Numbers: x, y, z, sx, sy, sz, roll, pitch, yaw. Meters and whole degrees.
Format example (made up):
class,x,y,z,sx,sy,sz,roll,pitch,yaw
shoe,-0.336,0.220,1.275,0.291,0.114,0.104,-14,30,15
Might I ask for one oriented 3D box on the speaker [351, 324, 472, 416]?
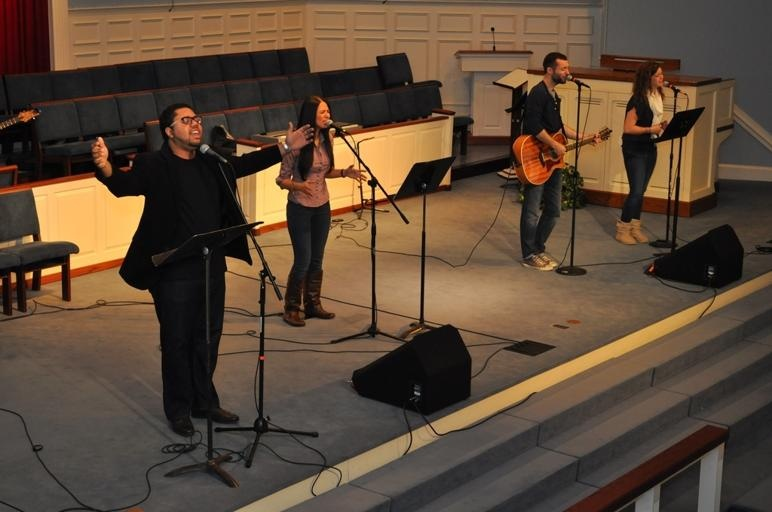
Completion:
class,x,y,z,sx,sy,sz,roll,pitch,yaw
speaker,0.154,0.741,4.863,0.721,0.483,0.529,14,20,39

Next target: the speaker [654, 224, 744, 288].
class,x,y,z,sx,sy,sz,roll,pitch,yaw
speaker,3.080,0.023,6.858,0.624,0.439,0.708,-16,25,-35

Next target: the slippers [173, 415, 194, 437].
class,x,y,z,sx,sy,sz,roll,pitch,yaw
slippers,-1.302,1.098,4.404,0.079,0.071,0.187,-11,17,-43

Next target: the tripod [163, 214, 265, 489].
class,x,y,z,sx,sy,sz,roll,pitch,yaw
tripod,-1.030,0.538,4.091,0.626,1.471,0.763,-4,18,0

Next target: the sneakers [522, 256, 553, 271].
class,x,y,z,sx,sy,sz,roll,pitch,yaw
sneakers,1.593,0.064,7.152,0.260,0.097,0.138,6,22,20

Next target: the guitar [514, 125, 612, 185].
class,x,y,z,sx,sy,sz,roll,pitch,yaw
guitar,1.704,-0.985,6.900,0.852,0.520,0.388,-16,22,-34

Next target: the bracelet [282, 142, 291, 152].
class,x,y,z,sx,sy,sz,roll,pitch,yaw
bracelet,-0.642,-0.696,4.373,0.057,0.054,0.102,3,30,-23

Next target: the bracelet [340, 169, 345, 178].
class,x,y,z,sx,sy,sz,roll,pitch,yaw
bracelet,-0.363,-0.682,5.596,0.022,0.066,0.130,-8,19,-13

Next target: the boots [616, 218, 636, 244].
class,x,y,z,sx,sy,sz,roll,pitch,yaw
boots,2.751,-0.261,7.852,0.146,0.235,0.345,-8,14,-33

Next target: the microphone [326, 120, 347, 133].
class,x,y,z,sx,sy,sz,roll,pitch,yaw
microphone,-0.377,-0.982,5.216,0.071,0.063,0.216,29,2,-35
